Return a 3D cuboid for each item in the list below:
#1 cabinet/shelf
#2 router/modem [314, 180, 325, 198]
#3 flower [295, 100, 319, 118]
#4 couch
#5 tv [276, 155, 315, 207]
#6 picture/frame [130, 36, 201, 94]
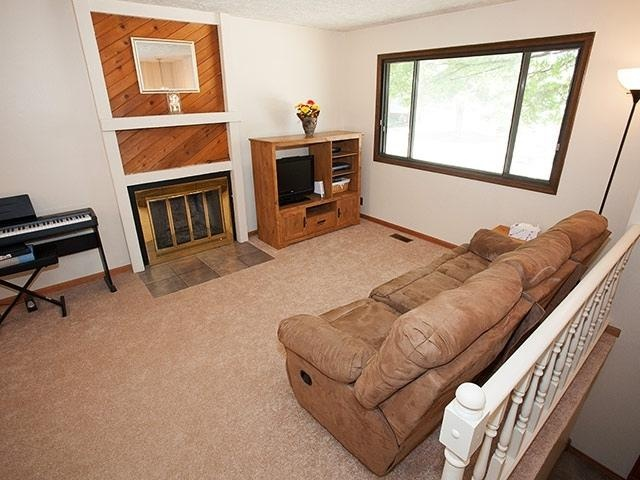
[{"bbox_3d":[-0.137,-0.755,6.050,1.555,1.385,0.579,-18,27,-39],"label":"cabinet/shelf"},{"bbox_3d":[-0.010,-0.736,6.093,0.211,0.204,0.051,13,12,36],"label":"router/modem"},{"bbox_3d":[-0.126,-1.747,5.759,0.273,0.129,0.279,11,28,16],"label":"flower"},{"bbox_3d":[1.205,0.548,3.665,2.905,1.463,1.504,-19,28,-39],"label":"couch"},{"bbox_3d":[-0.400,-0.808,5.792,0.236,0.606,0.854,14,23,39],"label":"tv"},{"bbox_3d":[-1.784,-1.985,4.837,0.701,0.558,0.050,-14,21,-35],"label":"picture/frame"}]
